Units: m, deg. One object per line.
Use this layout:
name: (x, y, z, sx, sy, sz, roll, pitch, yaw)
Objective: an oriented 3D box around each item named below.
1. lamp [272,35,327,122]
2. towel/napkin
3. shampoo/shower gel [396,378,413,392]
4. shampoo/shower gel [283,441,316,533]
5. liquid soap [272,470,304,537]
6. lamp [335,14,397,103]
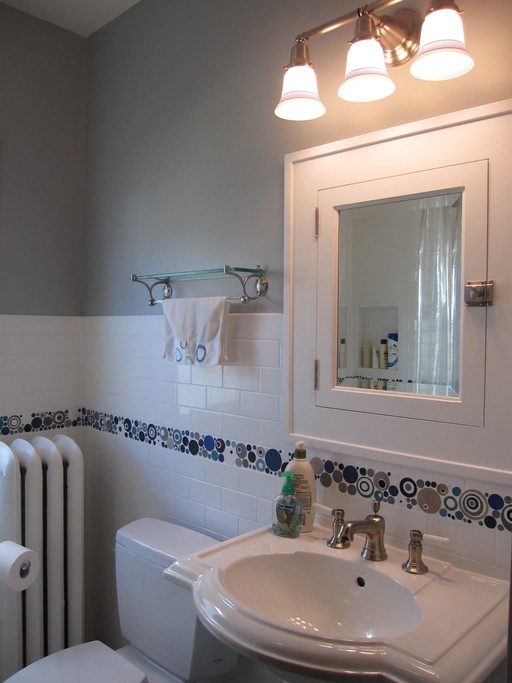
lamp: (0.093, -0.542, 1.205, 0.098, 0.179, 0.119, 11, 15, 41)
towel/napkin: (-0.188, -0.033, 1.694, 0.048, 0.198, 0.286, -2, 2, -43)
shampoo/shower gel: (0.335, 0.097, 1.254, 0.019, 0.043, 0.037, -1, 2, -31)
shampoo/shower gel: (0.108, 0.362, 1.405, 0.070, 0.204, 0.076, 0, -1, 30)
liquid soap: (0.079, 0.393, 1.334, 0.049, 0.174, 0.050, -4, 8, -45)
lamp: (0.226, -0.584, 1.122, 0.103, 0.164, 0.127, -1, 2, -15)
